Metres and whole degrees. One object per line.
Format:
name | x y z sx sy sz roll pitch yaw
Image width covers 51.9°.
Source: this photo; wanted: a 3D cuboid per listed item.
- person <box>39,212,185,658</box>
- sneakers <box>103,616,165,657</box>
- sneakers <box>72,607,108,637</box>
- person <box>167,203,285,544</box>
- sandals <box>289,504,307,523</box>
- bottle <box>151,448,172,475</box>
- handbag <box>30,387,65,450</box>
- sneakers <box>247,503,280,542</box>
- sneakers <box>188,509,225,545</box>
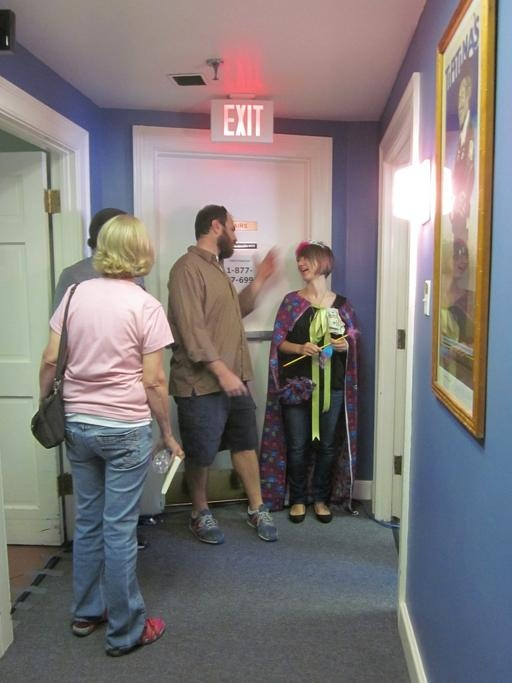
person | -0.450 0.327 1.688 0.450 1.443 0.245 -1 3 -25
sneakers | -0.420 1.015 1.812 0.068 0.094 0.196 24 34 33
sneakers | -0.601 1.008 1.916 0.052 0.070 0.147 2 6 30
person | -0.199 0.139 2.778 0.526 1.689 0.646 -1 3 -10
sandals | 0.232 0.939 2.885 0.104 0.074 0.120 0 3 -6
bottle | -0.318 0.418 1.816 0.020 0.077 0.076 4 27 -46
handbag | -0.665 0.247 1.661 0.149 0.206 0.079 2 4 40
sneakers | 0.039 0.928 2.672 0.074 0.093 0.208 1 -1 -21
sneakers | -0.253 0.945 2.662 0.082 0.096 0.226 4 -4 -26
